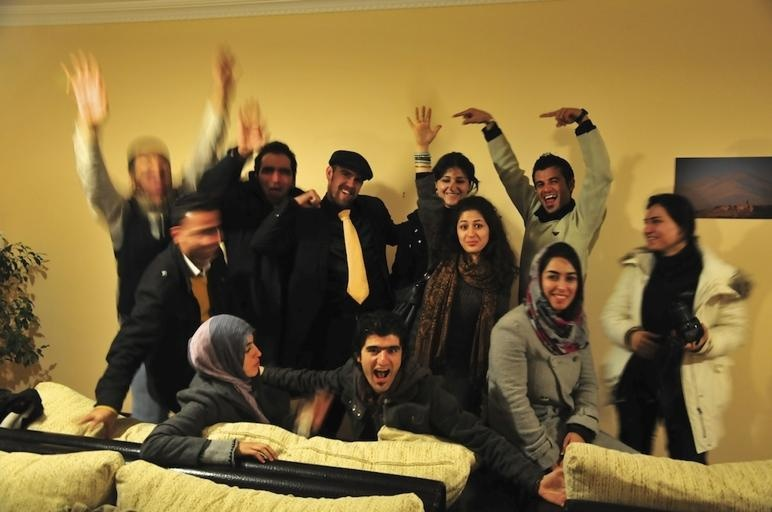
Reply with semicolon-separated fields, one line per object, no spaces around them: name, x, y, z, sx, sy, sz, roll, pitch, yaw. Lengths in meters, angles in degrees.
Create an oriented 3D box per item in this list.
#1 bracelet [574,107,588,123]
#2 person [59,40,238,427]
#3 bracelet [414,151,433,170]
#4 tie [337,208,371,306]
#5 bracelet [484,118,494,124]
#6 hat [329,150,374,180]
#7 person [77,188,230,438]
bracelet;1.162;-0.837;3.939;0.060;0.077;0.037;7;-20;20
person;-1.618;-0.052;4.679;0.693;2.902;1.398;27;32;33
bracelet;0.232;-0.574;4.009;0.111;0.101;0.108;4;13;16
tie;-0.197;0.011;4.105;0.207;0.581;0.038;2;1;22
bracelet;0.635;-0.816;4.017;0.037;0.035;0.011;23;-2;4
hat;-0.216;-0.576;4.132;0.201;0.075;0.213;34;-8;-41
person;-1.447;0.372;4.236;0.382;1.421;1.184;21;26;18
